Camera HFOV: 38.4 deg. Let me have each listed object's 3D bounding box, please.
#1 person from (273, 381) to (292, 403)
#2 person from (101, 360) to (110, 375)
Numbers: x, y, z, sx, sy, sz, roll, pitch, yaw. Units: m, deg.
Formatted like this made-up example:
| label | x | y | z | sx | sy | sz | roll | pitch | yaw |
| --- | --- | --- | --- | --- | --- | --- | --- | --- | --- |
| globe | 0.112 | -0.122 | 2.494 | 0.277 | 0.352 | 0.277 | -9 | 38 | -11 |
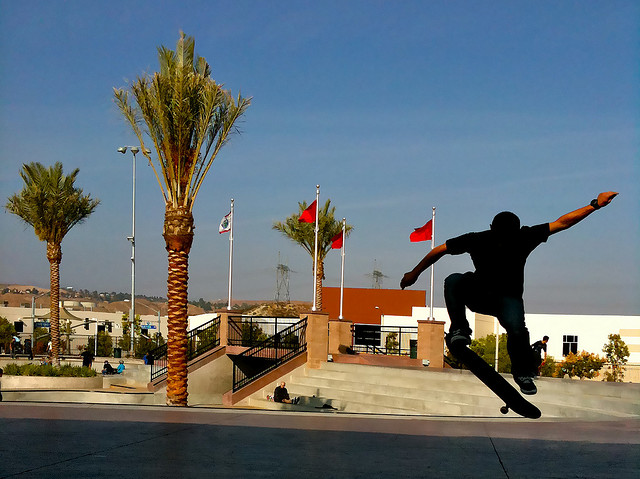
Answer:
| label | x | y | z | sx | sy | sz | roll | pitch | yaw |
| --- | --- | --- | --- | --- | --- | --- | --- | --- | --- |
| person | -1.155 | 4.658 | 28.233 | 0.571 | 0.630 | 0.863 | -2 | -9 | -3 |
| person | -9.703 | 5.768 | 41.724 | 0.306 | 0.635 | 1.864 | -1 | -9 | -13 |
